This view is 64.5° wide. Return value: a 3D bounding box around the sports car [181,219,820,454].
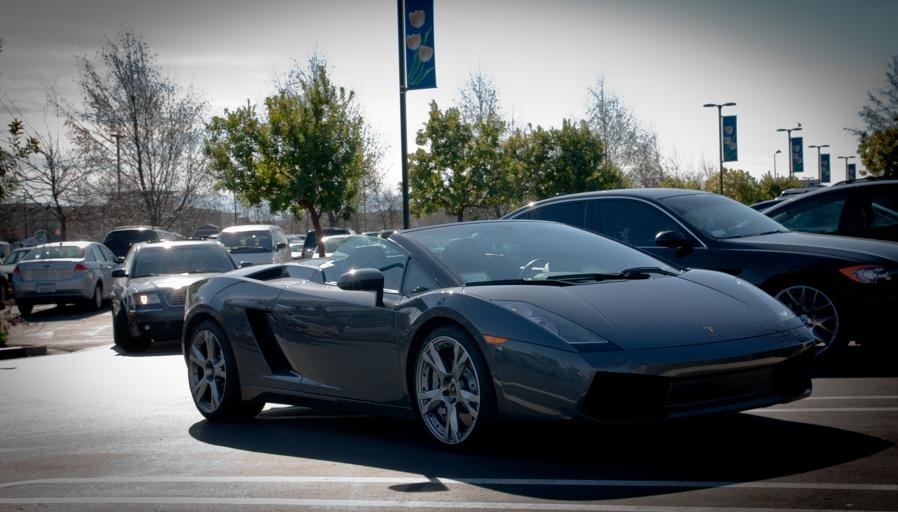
[{"bbox_3d":[0.386,0.784,7.651,6.289,2.260,1.789,0,7,25],"label":"sports car"}]
